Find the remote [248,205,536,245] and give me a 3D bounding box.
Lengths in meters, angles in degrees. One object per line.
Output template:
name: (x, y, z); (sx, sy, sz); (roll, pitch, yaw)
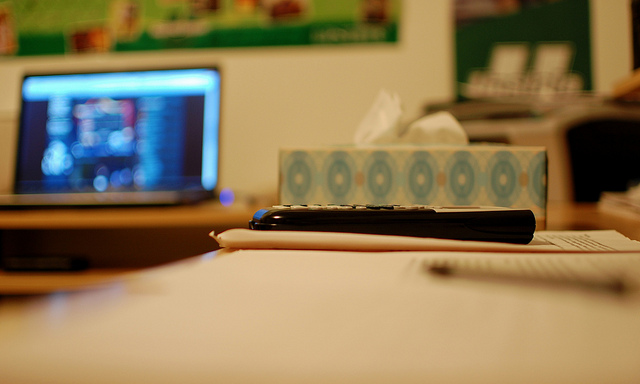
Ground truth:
remote: (0.120, 0.062, 1.098); (0.513, 0.064, 0.288); (2, -2, -6)
